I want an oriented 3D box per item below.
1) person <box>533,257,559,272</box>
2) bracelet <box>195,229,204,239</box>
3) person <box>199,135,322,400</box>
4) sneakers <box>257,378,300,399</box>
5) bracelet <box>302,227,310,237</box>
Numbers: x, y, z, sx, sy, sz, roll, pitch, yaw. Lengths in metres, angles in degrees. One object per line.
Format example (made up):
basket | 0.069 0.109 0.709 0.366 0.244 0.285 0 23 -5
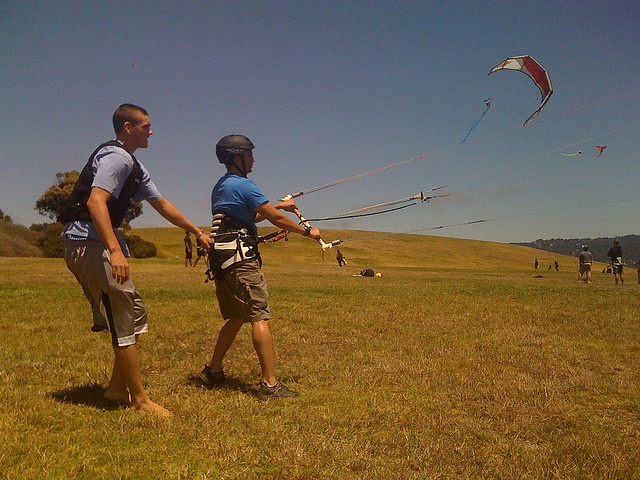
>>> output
person | 48.578 5.506 97.137 4.112 1.515 0.959 -14 18 2
bracelet | -1.836 -0.058 6.966 0.071 0.146 0.172 9 23 -10
person | -1.063 0.327 6.820 1.295 2.814 1.140 2 -1 -14
sneakers | -0.623 2.147 6.532 0.642 0.274 0.232 4 -9 -17
bracelet | -0.210 -0.120 7.230 0.077 0.133 0.100 6 2 -10
